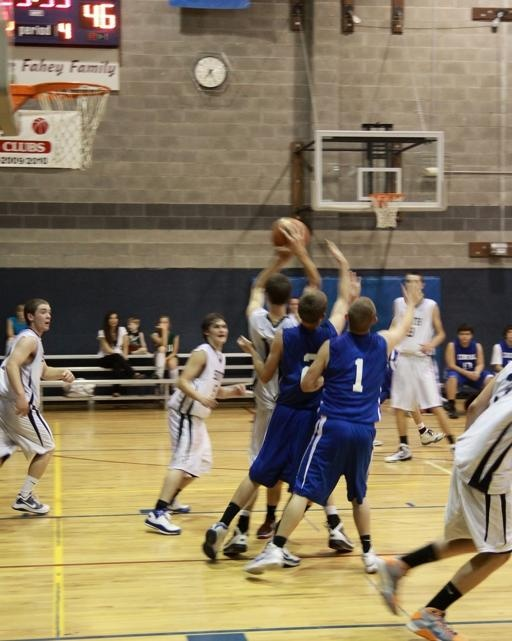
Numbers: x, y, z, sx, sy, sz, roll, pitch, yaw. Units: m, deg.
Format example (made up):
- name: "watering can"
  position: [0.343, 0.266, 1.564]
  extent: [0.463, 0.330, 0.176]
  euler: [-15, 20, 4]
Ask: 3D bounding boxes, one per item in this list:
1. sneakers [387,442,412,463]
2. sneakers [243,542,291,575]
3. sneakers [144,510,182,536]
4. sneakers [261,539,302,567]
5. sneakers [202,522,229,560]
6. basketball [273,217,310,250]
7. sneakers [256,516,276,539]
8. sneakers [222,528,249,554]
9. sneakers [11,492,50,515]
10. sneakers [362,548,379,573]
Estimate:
- name: "sneakers"
  position: [1.293, 1.131, 8.230]
  extent: [0.329, 0.161, 0.107]
  euler: [-1, -1, -9]
- name: "sneakers"
  position: [0.073, 1.184, 4.762]
  extent: [0.099, 0.114, 0.268]
  euler: [-5, 1, 38]
- name: "sneakers"
  position: [-0.564, 1.222, 5.847]
  extent: [0.217, 0.153, 0.257]
  euler: [4, 4, -6]
- name: "sneakers"
  position: [0.113, 1.180, 4.818]
  extent: [0.102, 0.106, 0.272]
  euler: [-3, -6, 32]
- name: "sneakers"
  position: [-0.205, 1.208, 5.167]
  extent: [0.106, 0.260, 0.125]
  euler: [18, 41, 19]
- name: "basketball"
  position: [0.204, -0.523, 5.566]
  extent: [0.204, 0.178, 0.148]
  euler: [-6, -23, 19]
- name: "sneakers"
  position: [0.063, 1.230, 5.673]
  extent: [0.143, 0.153, 0.390]
  euler: [-4, -15, 1]
- name: "sneakers"
  position: [-0.120, 1.242, 5.323]
  extent: [0.092, 0.124, 0.198]
  euler: [3, -6, -8]
- name: "sneakers"
  position: [-1.461, 1.200, 6.268]
  extent: [0.316, 0.126, 0.108]
  euler: [9, 5, -20]
- name: "sneakers"
  position: [0.604, 1.257, 4.971]
  extent: [0.099, 0.098, 0.271]
  euler: [-1, -7, 0]
